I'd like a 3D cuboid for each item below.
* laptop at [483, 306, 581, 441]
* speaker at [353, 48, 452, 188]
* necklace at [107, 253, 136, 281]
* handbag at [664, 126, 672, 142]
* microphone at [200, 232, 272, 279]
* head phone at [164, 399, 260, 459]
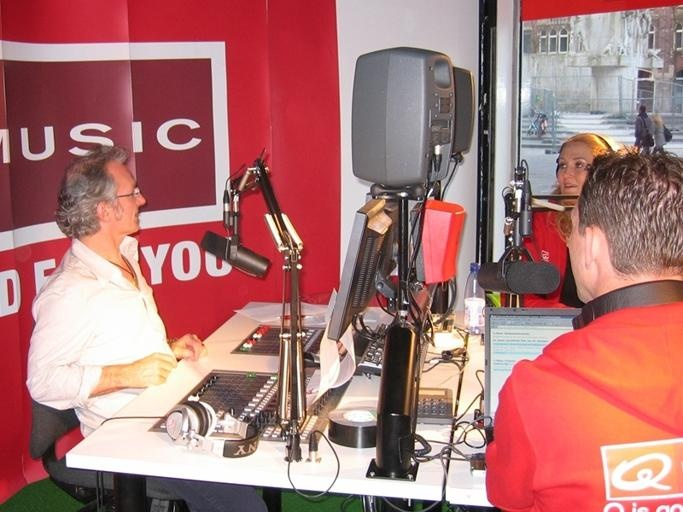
[{"bbox_3d":[0.573,0.378,2.304,0.342,0.451,0.423,13,-14,-39],"label":"laptop"},{"bbox_3d":[0.217,-0.491,2.356,0.318,0.471,0.306,2,15,15],"label":"speaker"},{"bbox_3d":[-1.062,0.061,3.313,0.026,0.116,0.081,-31,-19,22],"label":"necklace"},{"bbox_3d":[2.020,-0.746,4.179,0.055,0.084,0.070,-3,-15,19],"label":"handbag"},{"bbox_3d":[-0.558,0.002,3.401,0.300,0.117,0.125,34,-27,-8],"label":"microphone"},{"bbox_3d":[-0.447,0.608,2.351,0.223,0.091,0.206,20,6,13],"label":"head phone"}]
